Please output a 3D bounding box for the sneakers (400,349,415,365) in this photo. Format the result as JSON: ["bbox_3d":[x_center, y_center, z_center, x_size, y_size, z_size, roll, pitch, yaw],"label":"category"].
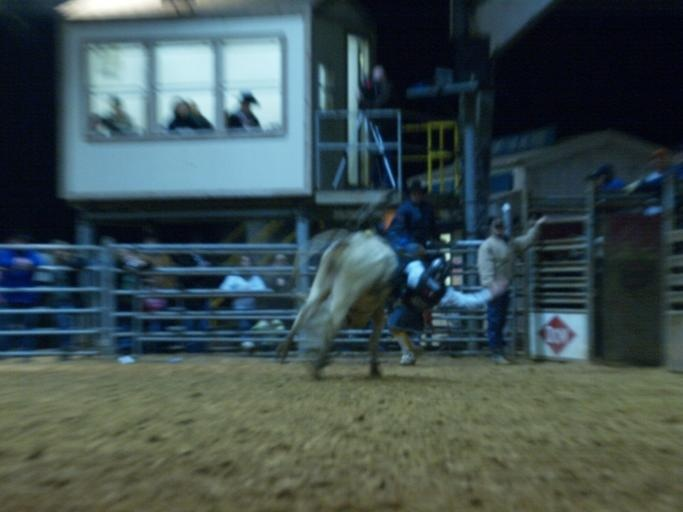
[{"bbox_3d":[0.861,1.391,10.366,0.282,0.226,0.102,-3,0,9],"label":"sneakers"}]

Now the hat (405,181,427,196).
[{"bbox_3d":[1.051,-0.963,10.611,0.260,0.141,0.363,1,7,9],"label":"hat"}]

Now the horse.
[{"bbox_3d":[0.358,0.278,9.953,0.741,2.636,2.563,15,0,24],"label":"horse"}]
